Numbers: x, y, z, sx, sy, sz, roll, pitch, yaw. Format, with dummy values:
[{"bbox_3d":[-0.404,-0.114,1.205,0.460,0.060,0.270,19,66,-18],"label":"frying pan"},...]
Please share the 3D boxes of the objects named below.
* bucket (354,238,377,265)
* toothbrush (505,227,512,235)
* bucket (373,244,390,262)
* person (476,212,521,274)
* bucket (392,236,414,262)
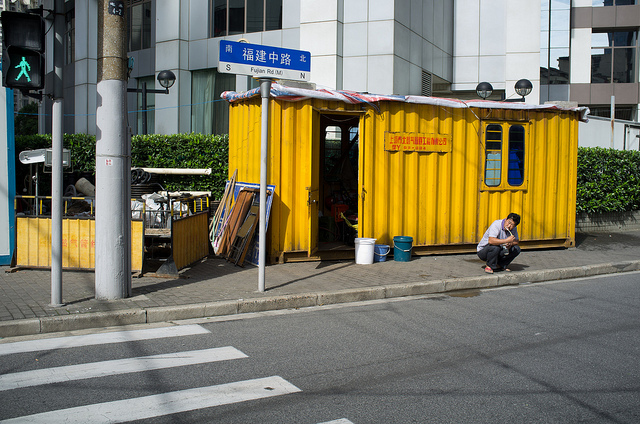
[{"bbox_3d":[1.056,0.921,14.990,0.531,0.500,0.545,1,-2,0],"label":"bucket"},{"bbox_3d":[4.319,0.437,14.673,0.039,0.242,0.056,-37,13,51],"label":"toothbrush"},{"bbox_3d":[1.449,0.971,15.327,0.352,0.293,0.368,3,0,0],"label":"bucket"},{"bbox_3d":[4.092,0.684,14.609,0.907,1.325,0.665,-3,15,-15],"label":"person"},{"bbox_3d":[1.951,0.875,15.375,0.546,0.530,0.526,2,-2,0],"label":"bucket"}]
